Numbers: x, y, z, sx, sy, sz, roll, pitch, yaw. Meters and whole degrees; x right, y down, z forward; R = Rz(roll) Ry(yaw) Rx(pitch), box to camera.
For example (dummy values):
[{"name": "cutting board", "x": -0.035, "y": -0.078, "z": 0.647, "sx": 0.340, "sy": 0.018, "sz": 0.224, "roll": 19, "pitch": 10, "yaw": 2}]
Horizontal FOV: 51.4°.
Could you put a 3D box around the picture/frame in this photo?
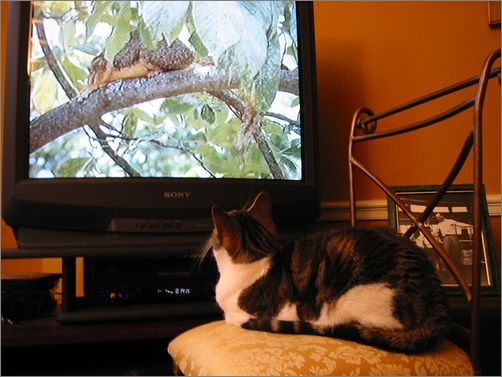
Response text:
[{"name": "picture/frame", "x": 0.674, "y": 0.189, "z": 1.839, "sx": 0.389, "sy": 0.501, "sz": 0.032, "roll": -1, "pitch": -19, "yaw": 0}]

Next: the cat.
[{"name": "cat", "x": 0.217, "y": 0.223, "z": 1.595, "sx": 0.641, "sy": 0.335, "sz": 0.379, "roll": 1, "pitch": 3, "yaw": 18}]
